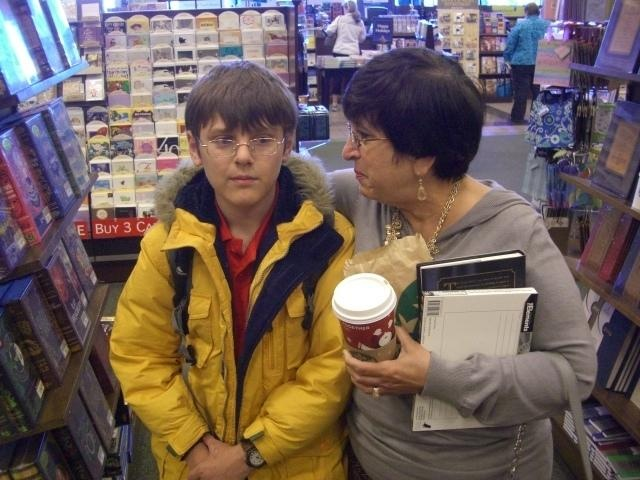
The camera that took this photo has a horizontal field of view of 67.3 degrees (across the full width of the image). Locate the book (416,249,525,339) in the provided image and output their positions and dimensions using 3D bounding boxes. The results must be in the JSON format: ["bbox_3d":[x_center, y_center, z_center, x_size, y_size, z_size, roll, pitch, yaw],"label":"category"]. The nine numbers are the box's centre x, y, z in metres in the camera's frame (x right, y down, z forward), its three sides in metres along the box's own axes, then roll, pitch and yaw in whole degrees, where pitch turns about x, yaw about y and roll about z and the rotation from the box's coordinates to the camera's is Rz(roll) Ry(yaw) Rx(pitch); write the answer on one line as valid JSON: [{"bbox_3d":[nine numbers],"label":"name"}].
[{"bbox_3d":[0.466,0.143,1.452,0.362,0.203,0.090,-5,18,-9],"label":"book"}]

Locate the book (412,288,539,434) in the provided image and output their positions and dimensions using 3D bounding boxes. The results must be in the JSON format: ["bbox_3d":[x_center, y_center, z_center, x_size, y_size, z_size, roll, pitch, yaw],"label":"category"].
[{"bbox_3d":[0.466,0.352,1.442,0.415,0.578,0.075,0,20,-4],"label":"book"}]

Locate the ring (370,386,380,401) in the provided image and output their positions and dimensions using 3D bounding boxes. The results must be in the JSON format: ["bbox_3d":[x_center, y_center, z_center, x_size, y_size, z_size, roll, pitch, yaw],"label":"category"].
[{"bbox_3d":[0.167,0.459,1.457,0.020,0.039,0.028,-9,20,-20],"label":"ring"}]

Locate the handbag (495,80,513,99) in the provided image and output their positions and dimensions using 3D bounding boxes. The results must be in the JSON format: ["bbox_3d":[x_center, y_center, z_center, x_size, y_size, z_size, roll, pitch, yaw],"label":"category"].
[{"bbox_3d":[4.476,-3.648,11.806,0.402,0.557,0.407,0,6,-1],"label":"handbag"}]

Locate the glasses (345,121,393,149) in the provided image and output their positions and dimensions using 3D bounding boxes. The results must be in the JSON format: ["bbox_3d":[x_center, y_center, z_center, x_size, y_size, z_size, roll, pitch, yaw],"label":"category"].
[{"bbox_3d":[0.164,-0.333,1.610,0.098,0.032,0.102,3,21,-22],"label":"glasses"}]

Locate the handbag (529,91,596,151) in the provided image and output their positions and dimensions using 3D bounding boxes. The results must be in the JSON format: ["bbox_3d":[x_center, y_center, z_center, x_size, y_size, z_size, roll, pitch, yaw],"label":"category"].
[{"bbox_3d":[1.631,-0.819,3.307,0.417,0.437,0.344,8,23,26],"label":"handbag"}]

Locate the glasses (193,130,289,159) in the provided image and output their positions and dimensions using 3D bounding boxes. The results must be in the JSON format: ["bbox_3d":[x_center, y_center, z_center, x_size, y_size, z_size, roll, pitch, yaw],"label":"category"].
[{"bbox_3d":[-0.265,-0.319,1.634,0.282,0.072,0.087,-6,19,-11],"label":"glasses"}]

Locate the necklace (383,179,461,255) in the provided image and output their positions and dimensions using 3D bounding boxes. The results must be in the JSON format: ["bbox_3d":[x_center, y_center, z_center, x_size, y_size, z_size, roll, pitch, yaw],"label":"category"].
[{"bbox_3d":[0.364,-0.061,1.673,0.185,0.310,0.075,19,20,24],"label":"necklace"}]

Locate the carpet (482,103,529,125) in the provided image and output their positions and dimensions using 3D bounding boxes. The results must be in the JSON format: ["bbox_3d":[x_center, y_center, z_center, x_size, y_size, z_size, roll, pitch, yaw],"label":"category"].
[{"bbox_3d":[3.737,-2.618,9.987,1.274,0.088,1.179,16,34,35],"label":"carpet"}]

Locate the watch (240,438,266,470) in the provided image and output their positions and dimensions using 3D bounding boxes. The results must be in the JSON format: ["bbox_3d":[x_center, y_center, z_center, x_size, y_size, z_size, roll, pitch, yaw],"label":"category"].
[{"bbox_3d":[-0.232,0.725,1.659,0.087,0.095,0.031,20,28,22],"label":"watch"}]
